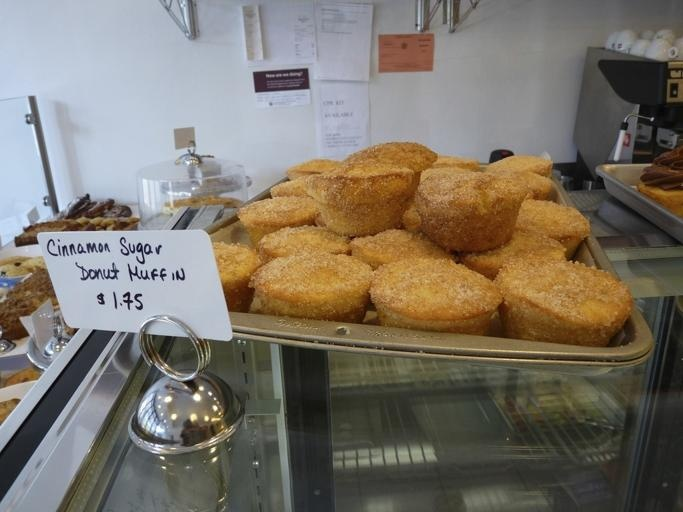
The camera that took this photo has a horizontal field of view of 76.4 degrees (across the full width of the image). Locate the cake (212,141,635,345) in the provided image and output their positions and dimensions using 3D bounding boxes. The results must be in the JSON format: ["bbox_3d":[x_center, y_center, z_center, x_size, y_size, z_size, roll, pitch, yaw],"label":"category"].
[{"bbox_3d":[0.088,0.021,0.632,0.489,0.122,0.366,5,19,10],"label":"cake"}]
